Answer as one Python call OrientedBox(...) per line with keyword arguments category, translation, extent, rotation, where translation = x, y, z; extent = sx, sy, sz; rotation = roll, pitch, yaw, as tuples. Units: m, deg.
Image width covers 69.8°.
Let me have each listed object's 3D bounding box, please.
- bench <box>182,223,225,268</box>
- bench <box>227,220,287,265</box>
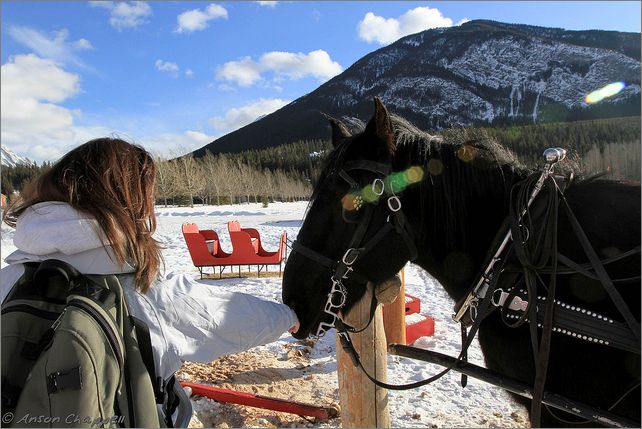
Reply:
OrientedBox(category="bench", translation=(-2.156, 0.608, 8.988), extent=(0.842, 0.886, 0.977), rotation=(-3, 1, 4))
OrientedBox(category="bench", translation=(-1.215, 0.537, 8.935), extent=(1.032, 0.789, 0.743), rotation=(-2, 2, 3))
